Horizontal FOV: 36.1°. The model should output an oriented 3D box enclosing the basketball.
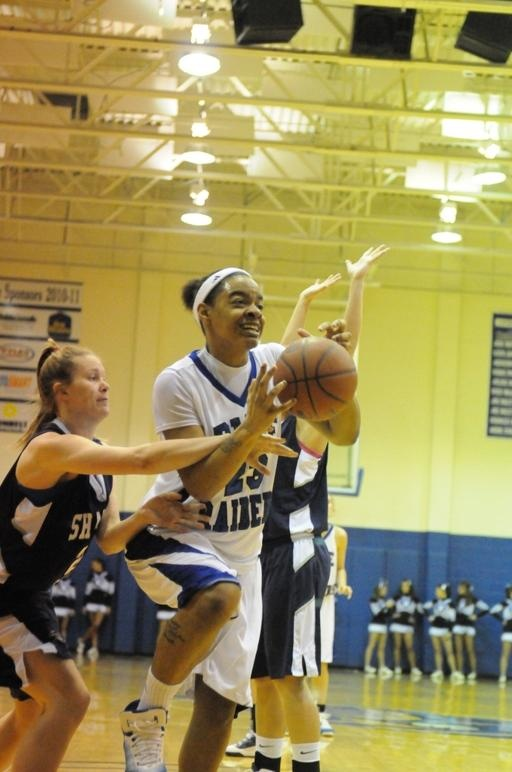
[{"bbox_3d":[0.175,-0.039,2.454,0.268,0.298,0.259,7,13,-3],"label":"basketball"}]
